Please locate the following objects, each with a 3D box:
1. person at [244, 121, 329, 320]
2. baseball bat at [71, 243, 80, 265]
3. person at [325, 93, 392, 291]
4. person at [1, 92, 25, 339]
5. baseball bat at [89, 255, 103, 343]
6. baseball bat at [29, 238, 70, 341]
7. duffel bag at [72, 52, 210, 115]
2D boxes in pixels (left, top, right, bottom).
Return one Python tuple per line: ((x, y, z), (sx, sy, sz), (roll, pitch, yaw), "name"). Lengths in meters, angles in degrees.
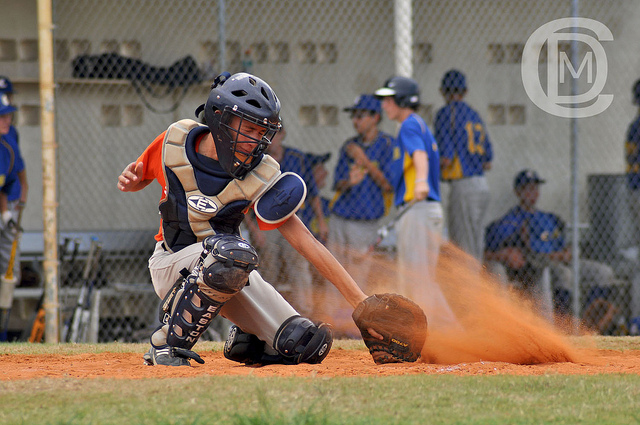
((-0.395, 0.052, 12.600), (0.781, 2.171, 0.717), (1, -6, -2), "person")
((-2.445, 0.413, 11.566), (0.048, 0.212, 0.065), (7, -11, 24), "baseball bat")
((0.409, -0.268, 12.590), (0.622, 2.197, 0.606), (3, -4, 8), "person")
((-3.188, 0.005, 11.885), (0.379, 1.843, 0.347), (1, -5, 4), "person")
((-2.401, 1.024, 12.400), (0.167, 0.169, 1.430), (-1, -42, -15), "baseball bat")
((-2.715, 0.754, 11.620), (0.151, 1.045, 0.119), (18, 8, 9), "baseball bat")
((-1.922, -1.448, 12.646), (0.651, 0.683, 1.802), (-1, -2, 30), "duffel bag")
